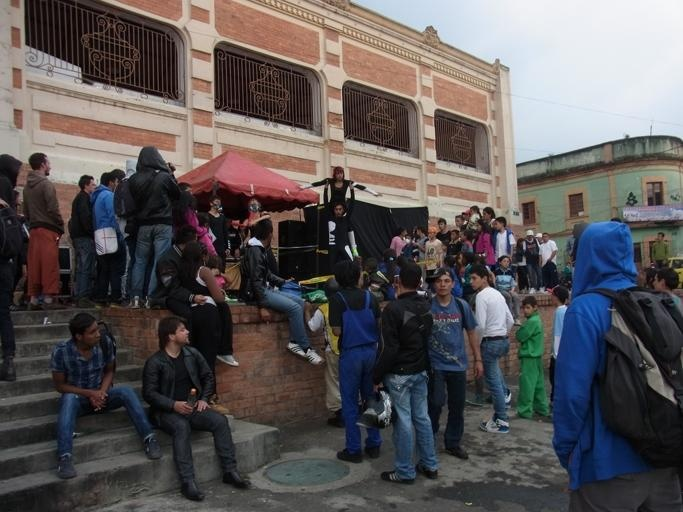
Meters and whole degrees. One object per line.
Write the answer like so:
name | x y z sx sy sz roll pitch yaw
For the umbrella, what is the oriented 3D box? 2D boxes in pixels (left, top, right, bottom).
umbrella | -1.901 -1.514 11.933 1.801 0.806 1.759 10 -16 -41

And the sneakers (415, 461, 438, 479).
sneakers | 1.010 2.519 6.835 0.102 0.119 0.277 -5 13 -29

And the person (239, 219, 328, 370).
person | -0.953 0.521 8.741 1.129 2.179 0.532 0 1 -12

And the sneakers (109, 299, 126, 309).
sneakers | -3.334 0.709 8.567 0.211 0.118 0.687 0 2 -25

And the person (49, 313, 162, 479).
person | -2.602 1.444 6.362 1.119 1.461 1.464 2 4 -28

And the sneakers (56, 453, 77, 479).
sneakers | -2.849 2.153 5.947 0.176 0.205 0.306 0 1 -29

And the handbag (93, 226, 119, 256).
handbag | -3.597 -0.243 8.785 0.396 0.490 0.267 3 -15 -34

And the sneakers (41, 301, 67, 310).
sneakers | -4.278 0.727 8.536 0.330 0.128 0.116 -1 1 -30

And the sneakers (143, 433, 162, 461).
sneakers | -2.111 2.121 6.424 0.158 0.236 0.253 0 1 -33

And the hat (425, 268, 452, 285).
hat | 1.282 0.265 7.516 0.183 0.083 0.304 -10 -3 44

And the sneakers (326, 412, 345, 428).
sneakers | -0.080 2.484 8.687 0.217 0.190 0.222 -3 -9 42

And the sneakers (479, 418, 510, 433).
sneakers | 2.262 2.479 8.466 0.395 0.183 0.197 3 1 34

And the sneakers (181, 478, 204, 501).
sneakers | -1.603 2.543 6.213 0.121 0.139 0.341 7 -12 -36

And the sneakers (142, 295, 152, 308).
sneakers | -2.741 0.659 8.176 0.137 0.167 0.397 2 -5 -22

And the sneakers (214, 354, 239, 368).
sneakers | -1.580 1.437 7.985 0.382 0.161 0.125 14 9 -5

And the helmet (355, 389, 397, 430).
helmet | 0.416 1.733 6.496 0.456 0.454 0.325 -2 -5 -10

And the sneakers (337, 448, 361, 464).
sneakers | 0.117 2.489 7.208 0.321 0.138 0.122 3 2 37

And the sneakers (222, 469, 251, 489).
sneakers | -1.187 2.522 6.505 0.364 0.262 0.146 -4 -5 23

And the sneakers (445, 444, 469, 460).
sneakers | 1.505 2.533 7.438 0.112 0.118 0.296 -1 -1 -42

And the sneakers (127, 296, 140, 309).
sneakers | -2.980 0.652 8.282 0.153 0.159 0.450 0 1 -21

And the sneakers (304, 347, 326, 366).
sneakers | -0.415 1.518 8.690 0.322 0.146 0.180 15 12 36

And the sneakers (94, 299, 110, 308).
sneakers | -3.812 0.756 9.071 0.156 0.116 0.153 -2 -8 15
